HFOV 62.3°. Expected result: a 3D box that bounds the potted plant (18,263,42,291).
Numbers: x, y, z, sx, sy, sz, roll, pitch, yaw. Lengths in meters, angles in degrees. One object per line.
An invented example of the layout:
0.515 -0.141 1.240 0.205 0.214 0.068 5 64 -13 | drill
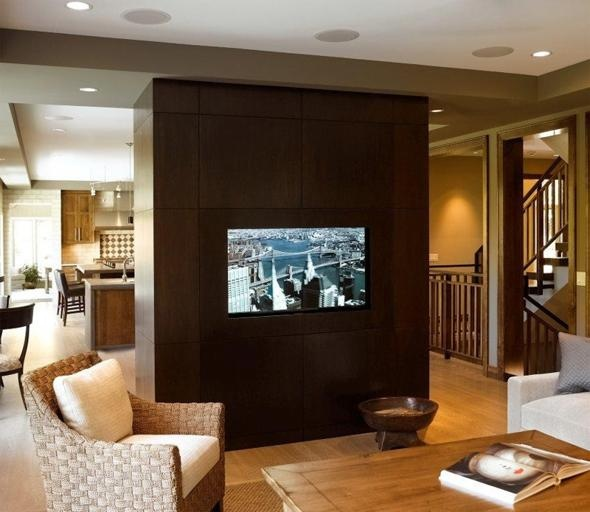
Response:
-7.592 0.590 14.105 0.611 0.653 0.567 -2 9 -23 | potted plant

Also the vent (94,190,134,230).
-4.895 -1.257 13.524 1.120 1.082 0.540 2 8 2 | vent

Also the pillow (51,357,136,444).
-1.006 0.787 2.513 0.191 0.405 0.547 -7 -6 3 | pillow

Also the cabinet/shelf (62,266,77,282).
-5.728 0.451 12.396 0.366 0.555 0.270 0 0 -14 | cabinet/shelf

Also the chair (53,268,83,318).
-4.365 0.772 9.554 0.606 1.004 0.959 -2 7 -35 | chair

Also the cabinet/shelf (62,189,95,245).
-5.975 -1.074 13.610 0.829 1.481 0.623 1 7 -11 | cabinet/shelf

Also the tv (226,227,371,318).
-0.013 0.115 3.905 1.034 0.681 0.177 0 -2 -10 | tv

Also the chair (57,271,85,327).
-4.433 0.886 9.654 0.514 0.896 0.850 -2 8 -26 | chair
